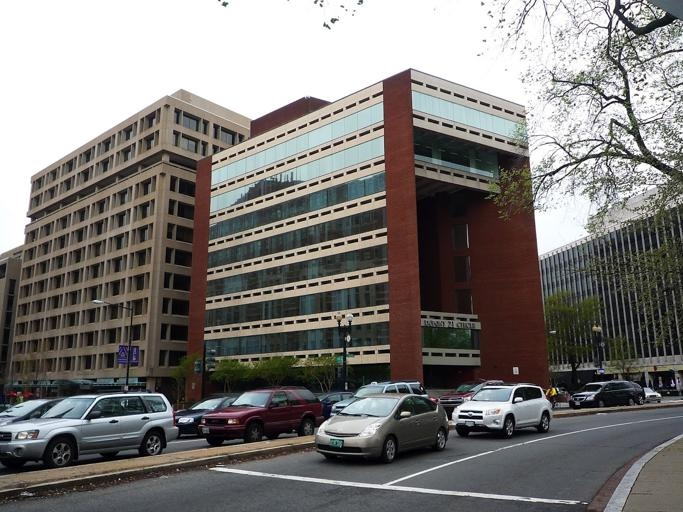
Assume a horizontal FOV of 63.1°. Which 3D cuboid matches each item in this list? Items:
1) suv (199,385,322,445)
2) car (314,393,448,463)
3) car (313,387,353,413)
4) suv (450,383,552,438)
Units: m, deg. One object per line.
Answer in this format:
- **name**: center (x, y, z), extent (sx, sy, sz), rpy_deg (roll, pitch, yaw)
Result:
- **suv**: center (-3.082, 6.070, 21.256), extent (2.230, 1.427, 4.015), rpy_deg (-22, -26, 37)
- **car**: center (1.427, 5.274, 17.279), extent (1.849, 1.929, 4.408), rpy_deg (-18, -22, 40)
- **car**: center (-0.430, 7.613, 29.148), extent (1.243, 0.894, 2.045), rpy_deg (-18, -28, 35)
- **suv**: center (6.523, 6.215, 22.455), extent (4.399, 1.990, 2.024), rpy_deg (10, -21, -36)
